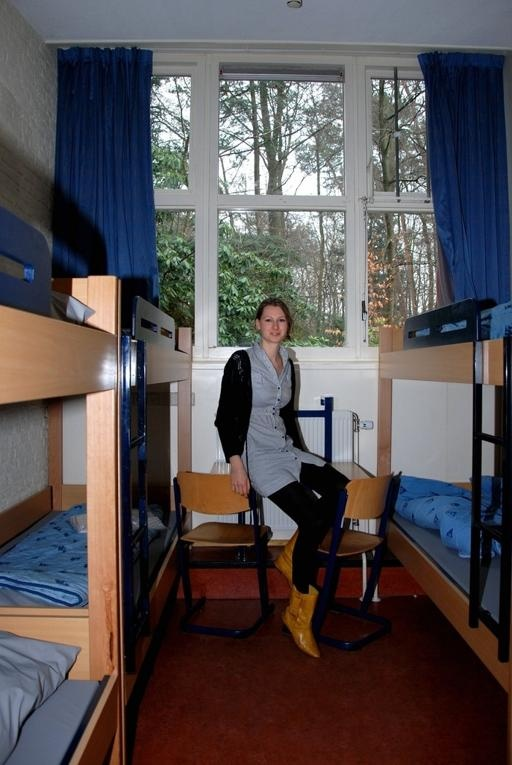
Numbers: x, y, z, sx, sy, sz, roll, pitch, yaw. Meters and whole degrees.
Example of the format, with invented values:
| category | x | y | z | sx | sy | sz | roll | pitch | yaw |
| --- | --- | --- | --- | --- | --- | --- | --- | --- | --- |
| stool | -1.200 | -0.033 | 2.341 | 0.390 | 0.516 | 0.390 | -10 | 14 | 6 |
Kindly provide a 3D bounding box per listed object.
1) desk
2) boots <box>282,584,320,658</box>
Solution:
| category | x | y | z | sx | sy | sz | roll | pitch | yaw |
| --- | --- | --- | --- | --- | --- | --- | --- | --- | --- |
| desk | 0.258 | 0.786 | 3.219 | 0.854 | 0.755 | 0.564 | 0 | 11 | 1 |
| boots | 0.197 | 0.970 | 2.295 | 0.082 | 0.217 | 0.258 | 7 | 17 | -26 |
